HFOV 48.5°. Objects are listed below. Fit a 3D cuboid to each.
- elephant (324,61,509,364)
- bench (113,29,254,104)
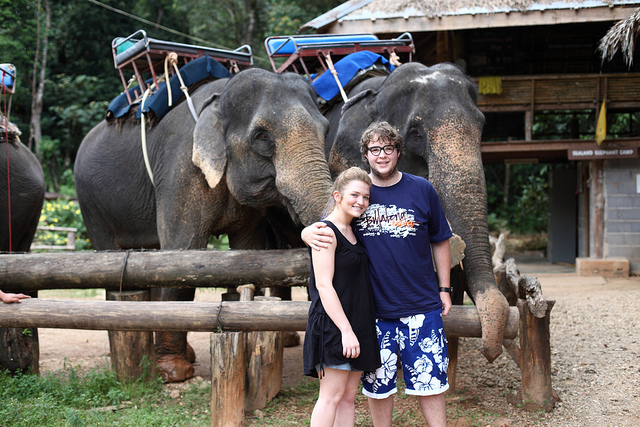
[{"bbox_3d":[1.185,-0.133,7.653,0.890,3.061,2.001,-8,6,-44],"label":"elephant"},{"bbox_3d":[-1.730,-2.150,9.314,1.848,0.819,1.149,2,-4,-31],"label":"bench"}]
